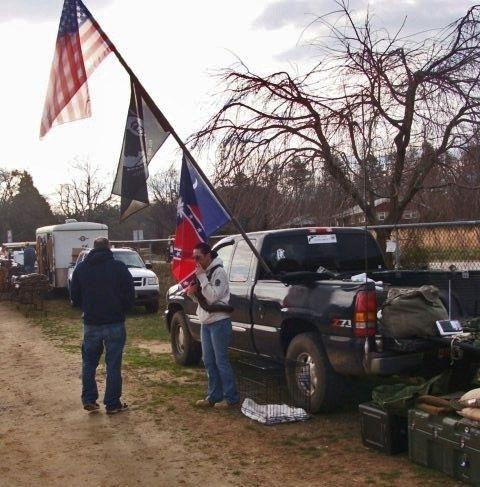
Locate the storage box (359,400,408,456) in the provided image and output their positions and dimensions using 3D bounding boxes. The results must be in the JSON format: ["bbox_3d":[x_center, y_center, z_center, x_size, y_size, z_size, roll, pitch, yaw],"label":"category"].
[{"bbox_3d":[1.286,1.617,5.146,0.302,0.555,0.505,1,-4,-38],"label":"storage box"}]

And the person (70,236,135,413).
[{"bbox_3d":[-1.626,0.947,6.610,0.737,2.031,0.399,-1,-1,-11],"label":"person"}]
